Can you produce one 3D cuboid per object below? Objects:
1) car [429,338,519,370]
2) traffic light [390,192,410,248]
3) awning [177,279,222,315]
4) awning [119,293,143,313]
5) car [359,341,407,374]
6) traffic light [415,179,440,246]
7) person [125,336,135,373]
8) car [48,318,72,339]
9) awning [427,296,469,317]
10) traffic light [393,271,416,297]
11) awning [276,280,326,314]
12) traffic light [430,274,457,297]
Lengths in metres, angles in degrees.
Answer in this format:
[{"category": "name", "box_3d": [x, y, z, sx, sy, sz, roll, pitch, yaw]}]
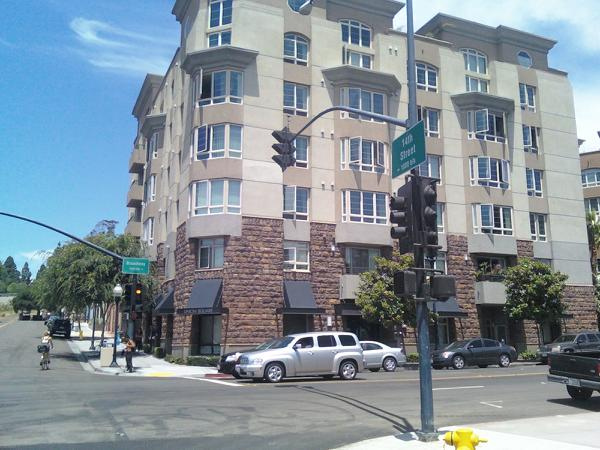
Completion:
[{"category": "car", "box_3d": [10.161, 7.573, 32.443, 5.286, 1.698, 1.137, 6, -15, -26]}, {"category": "traffic light", "box_3d": [2.757, -0.175, 15.423, 0.492, 1.747, 0.670, -1, -13, 1]}, {"category": "awning", "box_3d": [-6.060, 4.570, 35.109, 2.280, 1.701, 2.401, -4, -12, 28]}, {"category": "awning", "box_3d": [-9.296, 4.251, 30.316, 1.389, 0.610, 1.977, -1, -2, 6]}, {"category": "car", "box_3d": [4.522, 7.221, 30.629, 3.439, 1.510, 1.678, 8, -18, -16]}, {"category": "traffic light", "box_3d": [3.508, -0.387, 15.112, 0.711, 1.875, 0.367, 2, -13, -14]}, {"category": "person", "box_3d": [-9.226, 7.048, 29.845, 0.358, 1.756, 1.498, 3, -14, -16]}, {"category": "car", "box_3d": [-25.627, 11.042, 58.931, 1.954, 2.241, 1.526, 6, -15, -26]}, {"category": "awning", "box_3d": [10.948, 5.849, 39.848, 1.499, 1.450, 5.596, -10, -17, 32]}, {"category": "traffic light", "box_3d": [2.804, 1.547, 14.685, 0.584, 0.643, 0.367, -3, -13, 9]}, {"category": "awning", "box_3d": [-0.266, 4.667, 36.967, 2.336, 1.815, 2.389, 4, -12, -28]}, {"category": "traffic light", "box_3d": [3.840, 1.608, 14.732, 0.673, 0.603, 0.370, 3, -14, -16]}]
